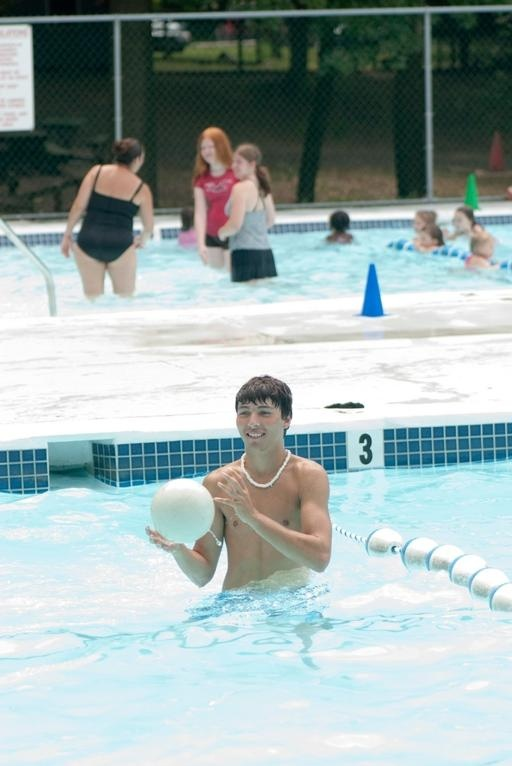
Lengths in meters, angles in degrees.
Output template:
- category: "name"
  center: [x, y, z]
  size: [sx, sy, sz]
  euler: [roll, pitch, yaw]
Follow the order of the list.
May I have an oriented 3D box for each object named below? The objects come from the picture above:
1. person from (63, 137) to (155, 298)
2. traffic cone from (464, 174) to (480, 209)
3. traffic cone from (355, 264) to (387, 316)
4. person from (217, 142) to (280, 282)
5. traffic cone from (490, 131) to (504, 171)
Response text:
- category: "person"
  center: [-1.126, -1.251, 6.795]
  size: [0.612, 1.197, 0.849]
  euler: [-10, 12, -31]
- category: "traffic cone"
  center: [3.043, -2.726, 12.335]
  size: [0.223, 0.588, 1.320]
  euler: [-1, 10, 15]
- category: "traffic cone"
  center: [0.857, -0.697, 6.481]
  size: [0.182, 0.383, 0.585]
  euler: [-2, 10, 9]
- category: "person"
  center: [-0.080, -1.309, 6.829]
  size: [0.429, 1.032, 0.739]
  euler: [-3, 10, 1]
- category: "traffic cone"
  center: [3.504, -3.384, 12.727]
  size: [0.201, 0.535, 0.282]
  euler: [-1, 11, 14]
